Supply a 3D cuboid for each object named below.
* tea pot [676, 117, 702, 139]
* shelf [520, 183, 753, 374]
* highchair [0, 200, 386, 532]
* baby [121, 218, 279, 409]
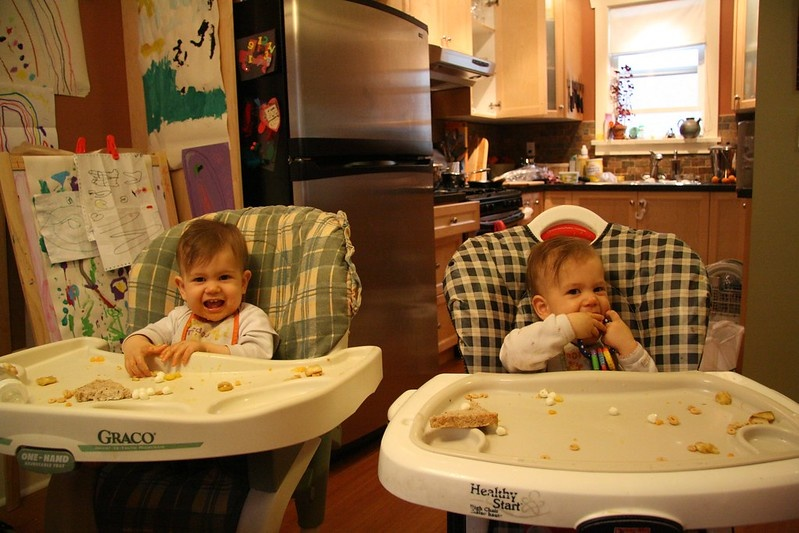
[{"bbox_3d":[2.598,-1.222,4.976,0.173,0.191,0.177,-3,15,1],"label":"tea pot"},{"bbox_3d":[2.305,0.010,4.933,1.494,1.364,0.827,-2,3,-40],"label":"shelf"},{"bbox_3d":[-0.713,0.274,2.203,1.039,1.408,0.952,-2,-2,17],"label":"highchair"},{"bbox_3d":[-0.520,0.130,1.910,0.564,0.734,0.425,-4,-25,-2],"label":"baby"}]
